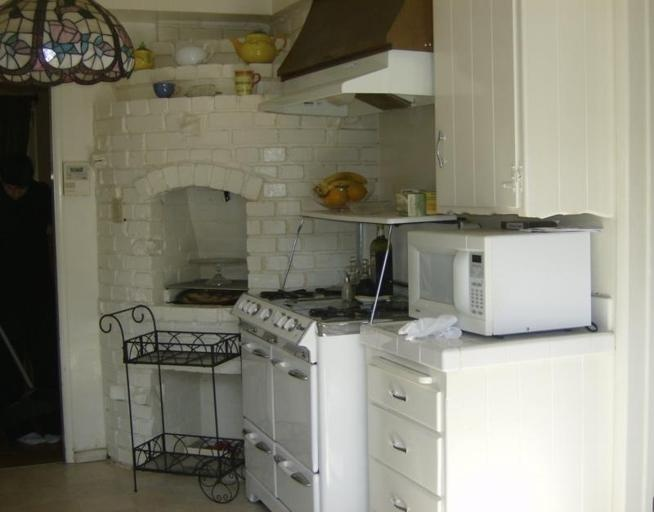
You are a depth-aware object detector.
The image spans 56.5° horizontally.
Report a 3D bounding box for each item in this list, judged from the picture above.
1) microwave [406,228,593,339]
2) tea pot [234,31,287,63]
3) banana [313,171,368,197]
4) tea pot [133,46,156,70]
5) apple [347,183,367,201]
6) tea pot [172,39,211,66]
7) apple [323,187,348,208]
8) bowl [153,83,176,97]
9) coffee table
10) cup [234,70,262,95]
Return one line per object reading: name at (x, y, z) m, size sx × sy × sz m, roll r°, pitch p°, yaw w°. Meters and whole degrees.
microwave at (0.691, 0.088, 2.486) m, size 0.455 × 0.372 × 0.603 m, roll -1°, pitch 2°, yaw -21°
tea pot at (-0.427, -1.278, 3.803) m, size 0.332 × 0.182 × 0.217 m, roll 2°, pitch 11°, yaw 2°
banana at (0.071, -0.409, 3.392) m, size 0.264 × 0.136 × 0.070 m, roll -5°, pitch -9°, yaw 2°
tea pot at (-1.172, -1.273, 3.899) m, size 0.125 × 0.196 × 0.286 m, roll -4°, pitch 7°, yaw -14°
apple at (0.160, -0.339, 3.251) m, size 0.101 × 0.093 × 0.094 m, roll 0°, pitch 5°, yaw -18°
tea pot at (-0.893, -1.291, 3.898) m, size 0.243 × 0.161 × 0.178 m, roll 12°, pitch 19°, yaw 32°
apple at (0.045, -0.318, 3.303) m, size 0.111 × 0.105 × 0.113 m, roll 9°, pitch 8°, yaw 40°
bowl at (-1.008, -1.023, 3.790) m, size 0.105 × 0.066 × 0.103 m, roll -1°, pitch 8°, yaw 0°
coffee table at (0.270, 0.115, 3.032) m, size 0.593 × 0.439 × 0.951 m, roll -2°, pitch 4°, yaw -26°
cup at (-0.482, -1.028, 3.637) m, size 0.183 × 0.170 × 0.121 m, roll -1°, pitch 5°, yaw -3°
